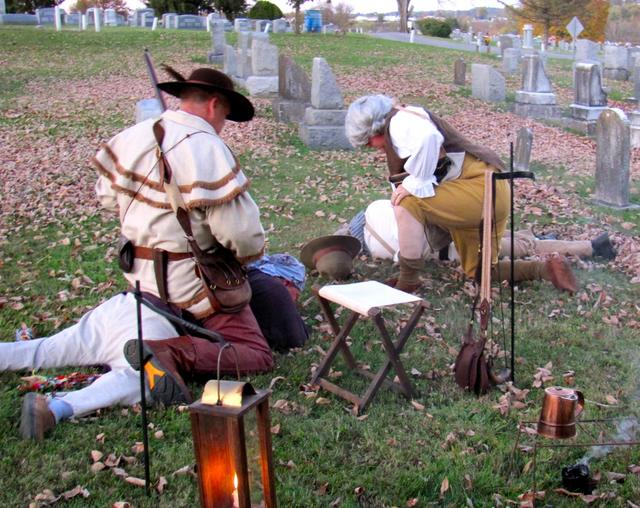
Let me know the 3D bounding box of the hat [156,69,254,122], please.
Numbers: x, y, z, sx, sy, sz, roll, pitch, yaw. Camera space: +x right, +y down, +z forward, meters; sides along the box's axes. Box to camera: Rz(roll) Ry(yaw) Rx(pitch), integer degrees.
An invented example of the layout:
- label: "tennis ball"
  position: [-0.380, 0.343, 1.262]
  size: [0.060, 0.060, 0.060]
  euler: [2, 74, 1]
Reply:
- label: "hat"
  position: [-0.799, -1.205, 4.514]
  size: [0.544, 0.207, 0.454]
  euler: [25, -20, -34]

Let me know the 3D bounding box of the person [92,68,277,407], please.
- label: "person"
  position: [-0.857, -0.206, 4.676]
  size: [1.085, 2.342, 1.326]
  euler: [7, 13, 33]

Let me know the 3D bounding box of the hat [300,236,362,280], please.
- label: "hat"
  position: [0.107, -0.020, 6.010]
  size: [0.552, 0.433, 0.469]
  euler: [2, 15, 3]

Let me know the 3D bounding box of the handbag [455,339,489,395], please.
- label: "handbag"
  position: [1.083, 0.751, 4.289]
  size: [0.198, 0.373, 0.280]
  euler: [3, -1, -23]

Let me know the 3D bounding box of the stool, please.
- label: "stool"
  position: [0.300, 0.635, 4.351]
  size: [0.567, 0.780, 0.806]
  euler: [-13, 19, -42]

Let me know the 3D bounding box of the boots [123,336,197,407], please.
- label: "boots"
  position: [-1.071, 0.832, 4.036]
  size: [0.284, 0.715, 0.247]
  euler: [-15, -9, -45]
